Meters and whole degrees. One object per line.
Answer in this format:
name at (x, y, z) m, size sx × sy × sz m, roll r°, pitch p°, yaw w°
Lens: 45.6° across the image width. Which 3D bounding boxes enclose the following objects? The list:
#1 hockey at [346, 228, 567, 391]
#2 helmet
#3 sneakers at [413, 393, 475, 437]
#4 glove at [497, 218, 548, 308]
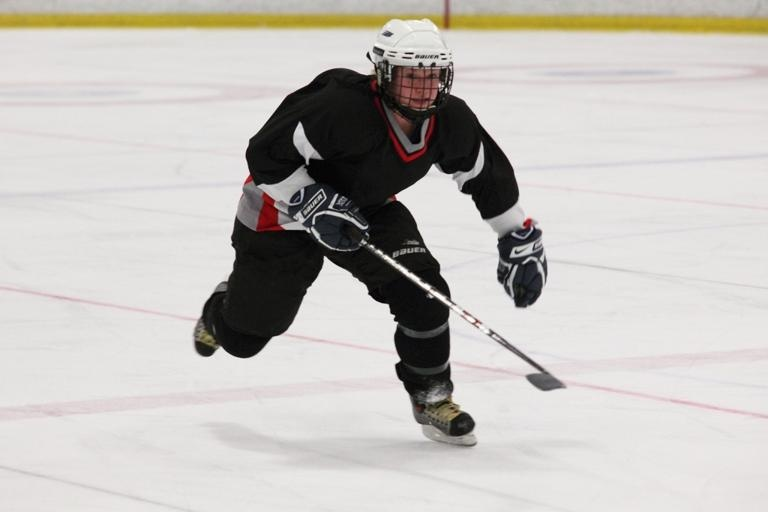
hockey at (0.280, 0.241, 3.681) m, size 1.210 × 0.228 × 0.050 m, roll 26°, pitch 65°, yaw 4°
helmet at (0.111, -0.775, 3.477) m, size 0.381 × 0.218 × 0.318 m, roll -2°, pitch 8°, yaw -16°
sneakers at (0.211, 0.594, 3.388) m, size 0.103 × 0.117 × 0.283 m, roll -27°, pitch 17°, yaw -36°
glove at (0.548, 0.030, 3.636) m, size 0.278 × 0.315 × 0.153 m, roll -3°, pitch 16°, yaw -18°
